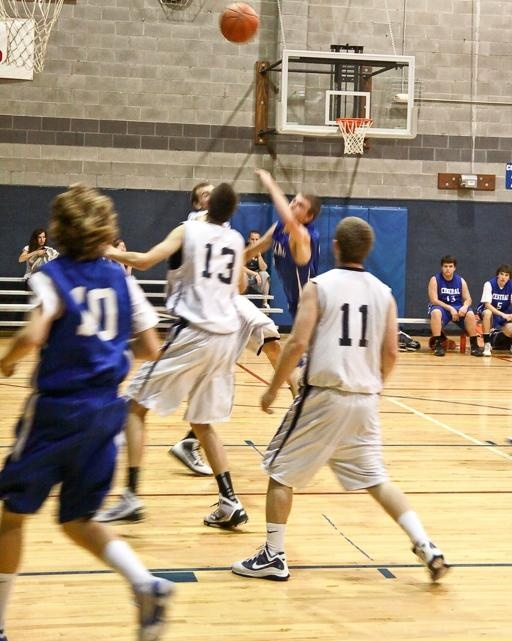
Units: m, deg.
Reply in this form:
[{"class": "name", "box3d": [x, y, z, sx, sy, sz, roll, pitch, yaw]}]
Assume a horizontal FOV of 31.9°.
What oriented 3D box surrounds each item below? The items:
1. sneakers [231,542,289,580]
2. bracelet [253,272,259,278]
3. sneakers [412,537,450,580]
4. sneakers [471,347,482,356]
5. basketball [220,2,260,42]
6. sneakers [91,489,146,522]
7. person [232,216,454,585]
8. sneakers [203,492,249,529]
[{"class": "sneakers", "box3d": [0.026, 0.894, 3.330, 0.244, 0.120, 0.091, 2, -4, 11]}, {"class": "bracelet", "box3d": [-0.003, -0.579, 11.308, 0.059, 0.077, 0.021, 1, -5, -1]}, {"class": "sneakers", "box3d": [0.616, 0.831, 3.201, 0.072, 0.097, 0.152, -18, 43, -27]}, {"class": "sneakers", "box3d": [2.594, 0.362, 10.546, 0.116, 0.100, 0.304, 3, 6, 10]}, {"class": "basketball", "box3d": [-0.140, -3.074, 9.293, 0.420, 0.402, 0.408, -12, 14, 15]}, {"class": "sneakers", "box3d": [-0.601, 0.776, 3.778, 0.314, 0.150, 0.104, 0, -2, 3]}, {"class": "person", "box3d": [0.301, 0.293, 3.233, 0.727, 1.327, 0.277, 2, 6, -2]}, {"class": "sneakers", "box3d": [-0.118, 0.818, 3.857, 0.250, 0.169, 0.090, -2, -1, 42]}]
